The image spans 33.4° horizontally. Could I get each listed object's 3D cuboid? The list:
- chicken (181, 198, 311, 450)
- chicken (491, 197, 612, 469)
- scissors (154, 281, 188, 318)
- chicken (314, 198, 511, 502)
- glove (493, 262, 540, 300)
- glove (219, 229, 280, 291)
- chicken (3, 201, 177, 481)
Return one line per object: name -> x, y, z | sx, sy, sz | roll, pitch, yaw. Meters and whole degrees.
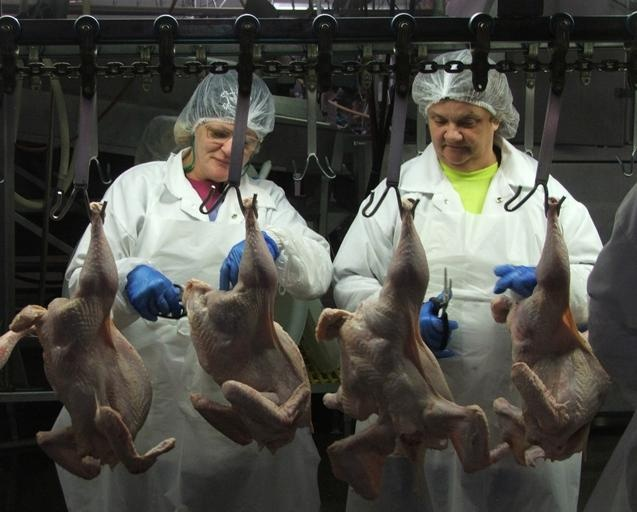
chicken -> -0.257, 0.252, 4.090 | 0.280, 0.904, 0.585 | -6, -19, -39
chicken -> 0.902, 0.292, 4.124 | 0.511, 0.955, 0.319 | -3, 6, 23
scissors -> -0.579, 0.184, 4.196 | 0.094, 0.151, 0.050 | -4, 5, -4
chicken -> 0.392, 0.294, 4.177 | 0.642, 1.180, 0.413 | -5, -1, 35
glove -> 0.776, 0.103, 4.162 | 0.135, 0.123, 0.058 | 20, -19, 14
glove -> -0.273, 0.049, 4.244 | 0.177, 0.260, 0.091 | -8, -31, 44
chicken -> -0.863, 0.414, 4.252 | 0.642, 1.062, 0.638 | -21, -5, 23
